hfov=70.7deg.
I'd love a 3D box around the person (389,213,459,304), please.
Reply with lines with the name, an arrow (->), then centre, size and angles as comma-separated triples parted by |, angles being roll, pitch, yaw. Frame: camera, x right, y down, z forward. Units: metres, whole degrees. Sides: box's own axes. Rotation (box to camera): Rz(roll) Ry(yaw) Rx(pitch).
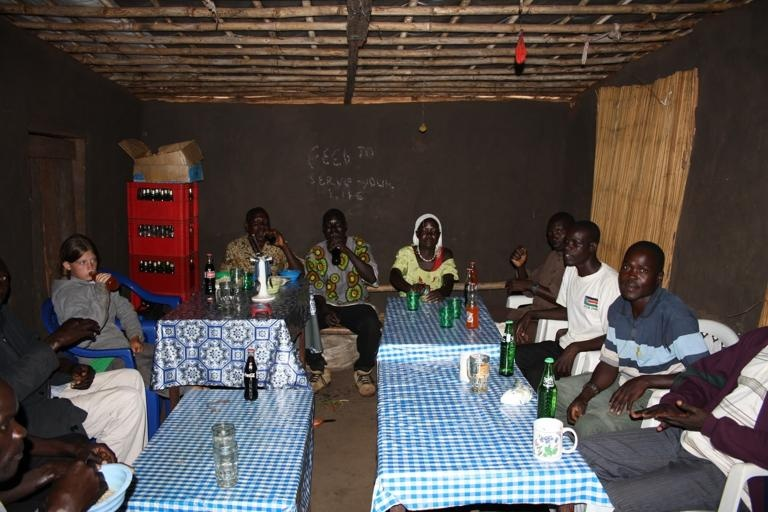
person -> 0.429, -0.009, 5.452 | 0.678, 0.854, 0.860 | 5, 13, 5

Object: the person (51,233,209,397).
person -> -2.253, 0.515, 4.770 | 1.121, 1.973, 0.914 | 0, 22, -9

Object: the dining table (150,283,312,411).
dining table -> -1.235, 0.687, 4.380 | 0.876, 0.287, 1.201 | 3, 15, 1

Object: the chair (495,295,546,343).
chair -> 1.337, 0.595, 5.188 | 0.334, 0.557, 0.228 | 0, 31, 7

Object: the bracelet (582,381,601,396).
bracelet -> 1.528, 0.963, 3.953 | 0.127, 0.077, 0.126 | 23, 9, 20

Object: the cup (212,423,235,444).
cup -> -0.905, 0.983, 3.055 | 0.107, 0.102, 0.105 | 3, 1, 0

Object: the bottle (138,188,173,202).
bottle -> -2.793, -0.747, 6.591 | 0.438, 0.176, 0.033 | -2, 8, 3

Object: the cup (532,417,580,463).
cup -> 0.986, 1.009, 3.040 | 0.292, 0.210, 0.176 | 4, 1, 1

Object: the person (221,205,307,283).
person -> -1.325, -0.178, 5.932 | 0.782, 0.712, 0.792 | -7, 8, -34

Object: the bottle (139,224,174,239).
bottle -> -2.801, -0.311, 6.532 | 0.366, 0.186, 0.091 | -1, 5, 0

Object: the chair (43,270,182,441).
chair -> -2.124, 0.800, 4.208 | 0.922, 1.224, 0.840 | 6, 27, 2

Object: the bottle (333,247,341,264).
bottle -> -0.536, -0.006, 6.115 | 0.073, 0.172, 0.102 | 8, 10, 31

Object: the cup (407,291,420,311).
cup -> 0.257, 0.389, 4.670 | 0.135, 0.197, 0.123 | 1, 10, 0

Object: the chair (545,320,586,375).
chair -> 1.581, 0.830, 4.863 | 0.431, 0.281, 0.314 | -10, 20, -30

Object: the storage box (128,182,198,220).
storage box -> -2.737, -0.675, 6.781 | 0.584, 0.355, 0.565 | 1, 5, -3
